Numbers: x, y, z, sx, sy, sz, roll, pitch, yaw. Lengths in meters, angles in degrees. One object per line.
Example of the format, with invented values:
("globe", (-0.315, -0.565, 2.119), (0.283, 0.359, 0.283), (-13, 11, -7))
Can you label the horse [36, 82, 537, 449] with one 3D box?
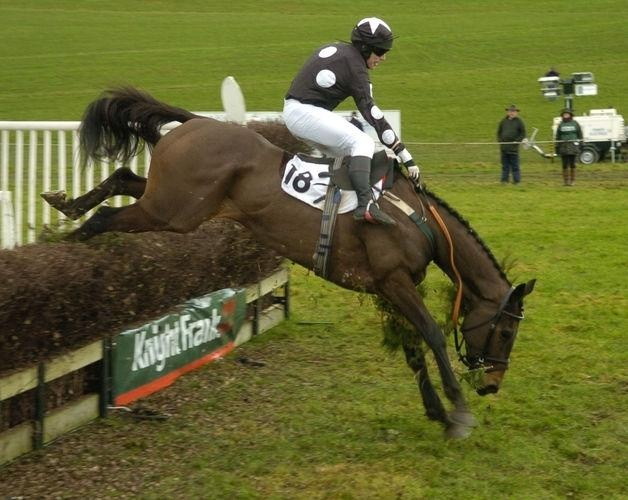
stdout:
("horse", (-0.140, -0.018, 5.316), (3.046, 2.229, 0.796), (4, 17, 23))

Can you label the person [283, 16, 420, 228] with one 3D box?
("person", (0.274, -0.877, 5.068), (0.688, 1.317, 0.890), (-9, 16, -24))

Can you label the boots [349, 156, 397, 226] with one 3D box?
("boots", (0.363, -0.378, 4.910), (0.236, 0.428, 0.328), (-6, 15, -16))
